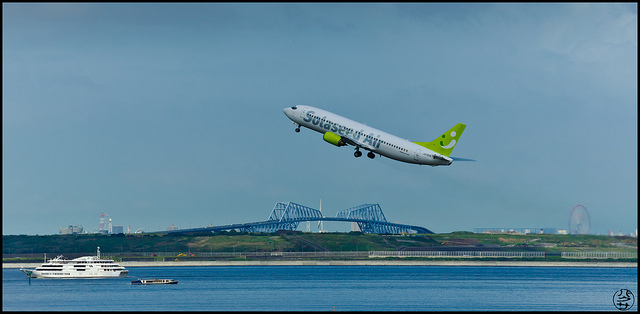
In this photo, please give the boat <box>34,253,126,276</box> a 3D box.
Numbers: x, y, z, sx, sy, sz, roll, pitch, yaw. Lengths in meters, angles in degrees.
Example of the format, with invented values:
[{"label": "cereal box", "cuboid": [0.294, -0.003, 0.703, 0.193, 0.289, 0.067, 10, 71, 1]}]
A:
[{"label": "boat", "cuboid": [-49.574, 22.322, 213.228, 20.708, 3.451, 3.750, 0, 0, -2]}]
